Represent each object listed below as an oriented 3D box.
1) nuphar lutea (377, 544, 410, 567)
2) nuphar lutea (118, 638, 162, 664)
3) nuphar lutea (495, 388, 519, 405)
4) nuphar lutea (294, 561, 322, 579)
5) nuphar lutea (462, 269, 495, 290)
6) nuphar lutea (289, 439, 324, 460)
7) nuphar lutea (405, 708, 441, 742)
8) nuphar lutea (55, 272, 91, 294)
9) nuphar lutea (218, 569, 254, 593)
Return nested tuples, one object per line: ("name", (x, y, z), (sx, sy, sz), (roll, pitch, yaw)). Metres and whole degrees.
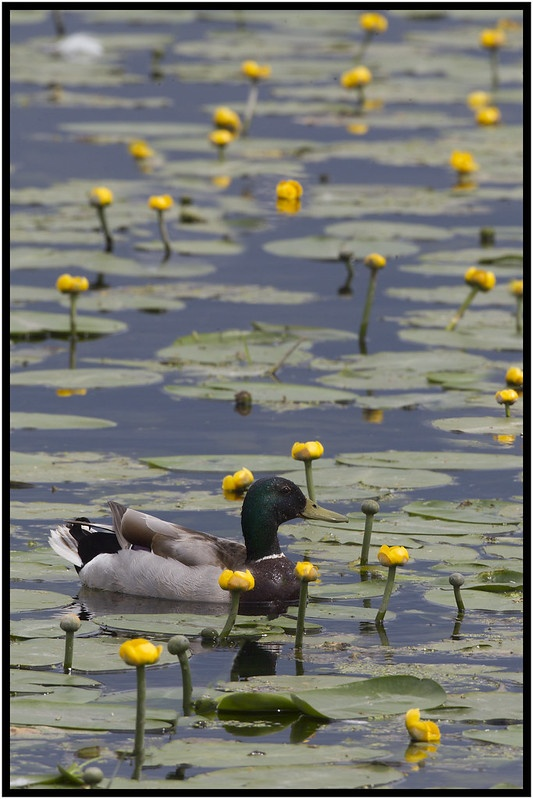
("nuphar lutea", (0.643, 0.776, 5.430), (0.145, 0.073, 0.125), (-2, -6, 21))
("nuphar lutea", (-0.442, 0.877, 3.781), (0.144, 0.067, 0.110), (-1, -5, 11))
("nuphar lutea", (1.908, -0.027, 8.481), (0.185, 0.110, 0.174), (-1, -3, -3))
("nuphar lutea", (0.189, 0.778, 4.967), (0.113, 0.096, 0.089), (1, 3, 15))
("nuphar lutea", (2.179, -1.224, 11.003), (0.390, 0.188, 0.291), (11, 2, 7))
("nuphar lutea", (0.278, 0.322, 7.030), (0.178, 0.087, 0.132), (-4, -6, 15))
("nuphar lutea", (0.611, 1.257, 4.172), (0.130, 0.121, 0.206), (0, -18, 9))
("nuphar lutea", (-1.717, -1.081, 10.069), (0.362, 0.179, 0.367), (5, 9, 37))
("nuphar lutea", (-0.156, 0.808, 4.908), (0.183, 0.090, 0.129), (1, -9, 10))
